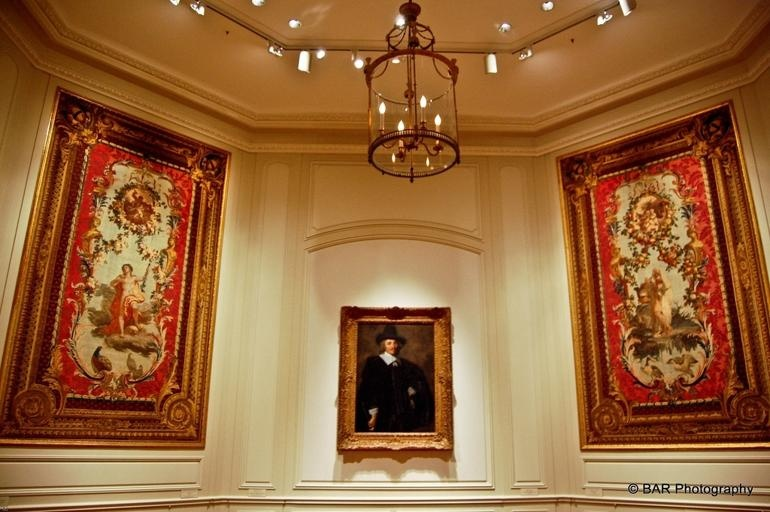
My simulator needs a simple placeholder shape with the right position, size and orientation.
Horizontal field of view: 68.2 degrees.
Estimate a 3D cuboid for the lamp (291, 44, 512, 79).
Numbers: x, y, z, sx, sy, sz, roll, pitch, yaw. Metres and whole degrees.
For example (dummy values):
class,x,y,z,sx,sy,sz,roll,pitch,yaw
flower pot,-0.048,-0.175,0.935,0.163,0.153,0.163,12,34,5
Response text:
class,x,y,z,sx,sy,sz,roll,pitch,yaw
lamp,0.145,-2.298,6.907,2.466,0.351,0.396,3,-18,-3
